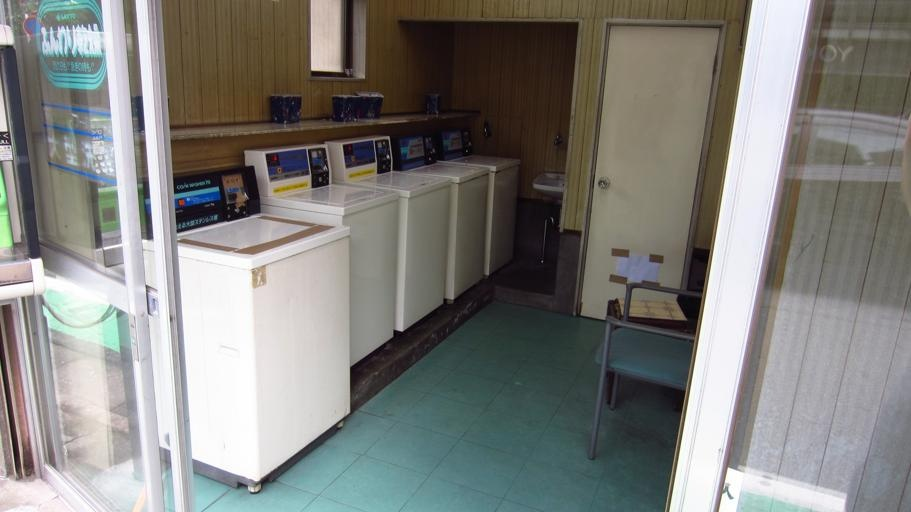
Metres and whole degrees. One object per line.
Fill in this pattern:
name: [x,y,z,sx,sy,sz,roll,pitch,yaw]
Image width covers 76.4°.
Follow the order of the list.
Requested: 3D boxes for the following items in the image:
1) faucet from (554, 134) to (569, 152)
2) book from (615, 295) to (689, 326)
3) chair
faucet: [1.147,-1.237,6.336,0.140,0.178,0.158,-5,11,1]
book: [1.451,0.393,4.196,0.290,0.065,0.283,5,16,11]
chair: [1.237,0.781,3.767,0.756,0.712,0.953,8,22,15]
